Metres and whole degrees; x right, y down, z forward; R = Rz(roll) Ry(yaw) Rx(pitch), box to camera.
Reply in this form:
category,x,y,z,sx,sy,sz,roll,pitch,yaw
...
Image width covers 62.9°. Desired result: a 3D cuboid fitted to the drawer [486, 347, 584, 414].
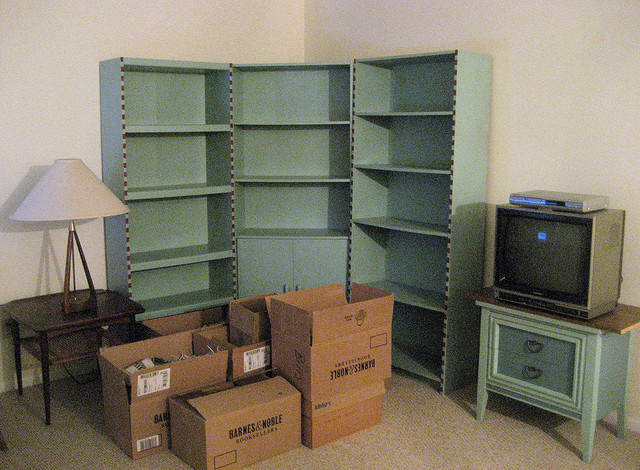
category,x,y,z,sx,sy,sz,roll,pitch,yaw
drawer,1.365,0.930,3.355,0.577,0.295,0.248,9,8,34

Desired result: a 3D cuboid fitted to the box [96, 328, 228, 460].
category,x,y,z,sx,sy,sz,roll,pitch,yaw
box,-0.952,1.054,3.492,0.902,0.509,0.490,-2,4,-33

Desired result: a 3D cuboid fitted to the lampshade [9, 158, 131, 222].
category,x,y,z,sx,sy,sz,roll,pitch,yaw
lampshade,-1.815,-0.383,3.755,0.837,0.323,0.811,-9,25,-45

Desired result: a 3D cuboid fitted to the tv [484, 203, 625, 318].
category,x,y,z,sx,sy,sz,roll,pitch,yaw
tv,1.497,0.162,3.288,0.512,0.574,0.851,-8,13,-42

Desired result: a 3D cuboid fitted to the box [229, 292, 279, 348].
category,x,y,z,sx,sy,sz,roll,pitch,yaw
box,-0.448,0.604,3.598,0.425,0.224,0.216,-8,17,-37

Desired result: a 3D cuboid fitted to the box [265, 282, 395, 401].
category,x,y,z,sx,sy,sz,roll,pitch,yaw
box,0.067,0.592,3.709,1.059,0.652,0.773,-6,11,-31

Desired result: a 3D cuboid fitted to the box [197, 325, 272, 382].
category,x,y,z,sx,sy,sz,roll,pitch,yaw
box,-0.576,0.806,3.611,0.418,0.190,0.387,-7,13,-36
